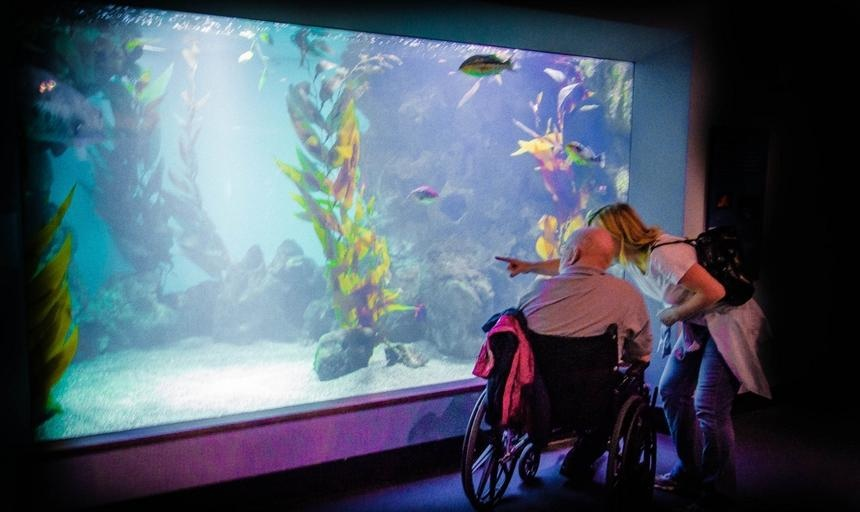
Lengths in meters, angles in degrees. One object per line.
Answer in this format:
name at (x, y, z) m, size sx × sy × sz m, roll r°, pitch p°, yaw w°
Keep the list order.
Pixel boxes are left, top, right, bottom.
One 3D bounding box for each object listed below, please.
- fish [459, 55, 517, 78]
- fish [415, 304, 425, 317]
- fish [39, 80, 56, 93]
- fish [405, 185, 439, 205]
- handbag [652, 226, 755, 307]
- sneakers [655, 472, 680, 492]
fish at (0.678, -2.372, 7.354) m, size 0.600 × 0.295 × 0.365 m, roll 0°, pitch 5°, yaw 1°
fish at (-0.175, 0.976, 10.465) m, size 0.216 × 0.193 × 0.080 m, roll 3°, pitch 4°, yaw -29°
fish at (-4.431, -1.951, 6.872) m, size 0.160 × 0.055 × 0.103 m, roll -13°, pitch 49°, yaw -42°
fish at (-0.058, -0.836, 8.748) m, size 0.552 × 0.269 × 0.337 m, roll 10°, pitch 10°, yaw -12°
handbag at (3.016, 0.087, 6.554) m, size 0.606 × 0.734 × 0.860 m, roll -19°, pitch -12°, yaw 27°
sneakers at (2.670, 2.531, 6.680) m, size 0.215 × 0.073 × 0.206 m, roll 1°, pitch 0°, yaw -24°
